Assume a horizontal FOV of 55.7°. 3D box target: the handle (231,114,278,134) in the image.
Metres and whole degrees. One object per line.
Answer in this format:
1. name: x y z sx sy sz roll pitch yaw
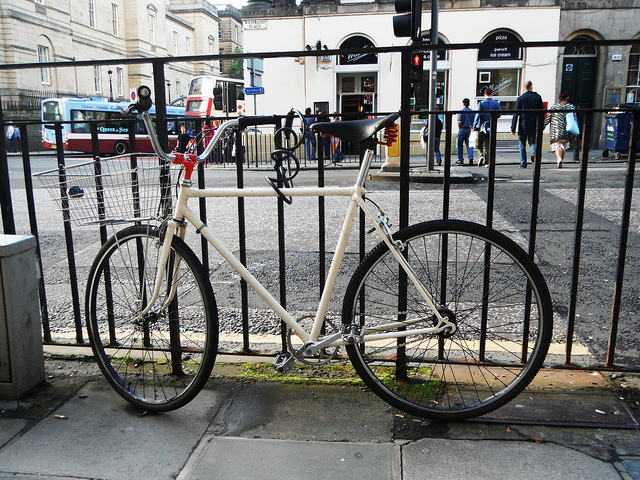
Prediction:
1. handle: -0.398 -0.734 3.880 0.211 0.069 0.149 -8 46 -16

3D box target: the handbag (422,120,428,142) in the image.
1. handbag: 2.737 -2.753 15.709 0.102 0.299 0.216 8 3 5

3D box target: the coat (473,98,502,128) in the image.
1. coat: 4.093 -3.077 14.726 0.882 0.714 0.343 -7 18 -15

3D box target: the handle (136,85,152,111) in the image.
1. handle: -1.009 -0.813 3.483 0.067 0.066 0.195 -4 -7 -6

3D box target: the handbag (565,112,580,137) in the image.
1. handbag: 5.948 -2.701 14.276 0.302 0.535 0.545 6 16 24

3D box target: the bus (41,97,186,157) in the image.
1. bus: -9.135 -5.659 30.922 2.308 2.671 9.937 12 14 33

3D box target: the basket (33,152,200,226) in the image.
1. basket: -1.319 -0.305 3.882 0.862 0.361 0.550 0 4 15
